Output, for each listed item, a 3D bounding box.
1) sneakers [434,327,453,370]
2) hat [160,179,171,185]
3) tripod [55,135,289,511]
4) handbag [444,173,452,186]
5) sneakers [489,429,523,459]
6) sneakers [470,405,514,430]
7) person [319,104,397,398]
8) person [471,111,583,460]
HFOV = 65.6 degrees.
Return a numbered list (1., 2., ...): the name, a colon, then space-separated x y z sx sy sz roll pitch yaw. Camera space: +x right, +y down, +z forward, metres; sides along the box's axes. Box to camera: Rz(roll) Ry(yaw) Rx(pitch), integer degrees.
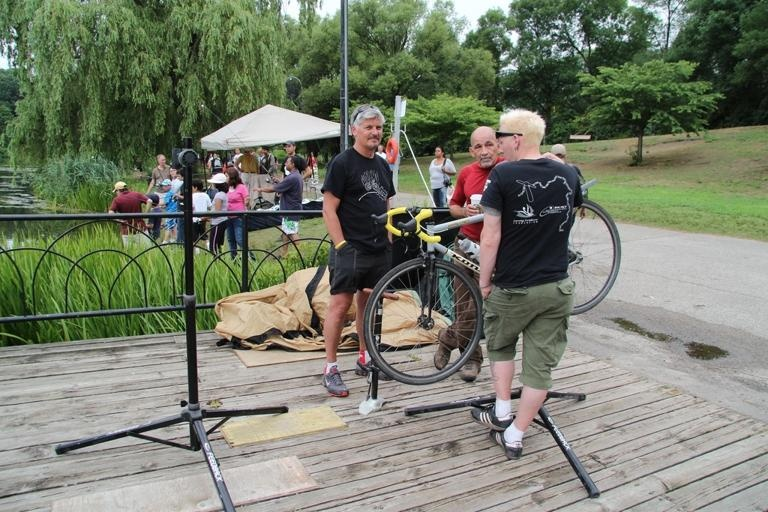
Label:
1. sneakers: 0.586 0.949 6.182 0.173 0.435 0.188 -3 16 -27
2. hat: -5.351 -1.796 14.598 0.272 0.125 0.351 0 17 -8
3. tripod: -1.697 0.450 5.015 1.515 2.825 1.132 5 15 18
4. handbag: 1.724 -2.082 16.127 0.244 0.431 0.121 6 -22 0
5. sneakers: 1.086 1.642 5.319 0.134 0.140 0.332 -3 17 -16
6. sneakers: 0.957 1.453 5.474 0.174 0.163 0.429 -5 14 -36
7. person: -0.281 -0.064 5.970 0.895 2.795 0.439 -13 19 -40
8. person: 1.241 0.230 5.260 0.797 2.948 0.879 -4 15 -14
